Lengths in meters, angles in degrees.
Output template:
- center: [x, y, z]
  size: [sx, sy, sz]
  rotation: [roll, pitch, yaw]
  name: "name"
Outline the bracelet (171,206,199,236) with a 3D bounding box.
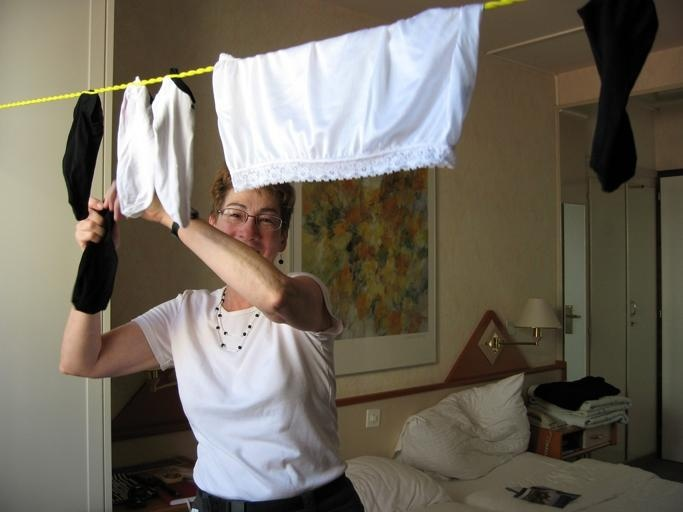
- center: [-0.460, -0.098, 1.837]
  size: [0.072, 0.085, 0.029]
  rotation: [-10, 14, 21]
  name: "bracelet"
